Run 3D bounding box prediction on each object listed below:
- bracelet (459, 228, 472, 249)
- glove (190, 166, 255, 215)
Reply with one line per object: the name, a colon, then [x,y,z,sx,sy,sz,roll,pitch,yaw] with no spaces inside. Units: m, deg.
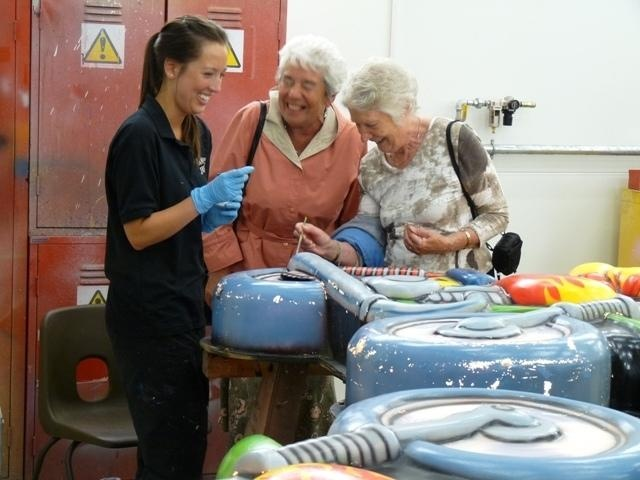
bracelet: [0.465,-0.003,1.872,0.042,0.061,0.058,12,-5,11]
glove: [-0.297,-0.151,1.784,0.189,0.132,0.123,-2,9,-24]
